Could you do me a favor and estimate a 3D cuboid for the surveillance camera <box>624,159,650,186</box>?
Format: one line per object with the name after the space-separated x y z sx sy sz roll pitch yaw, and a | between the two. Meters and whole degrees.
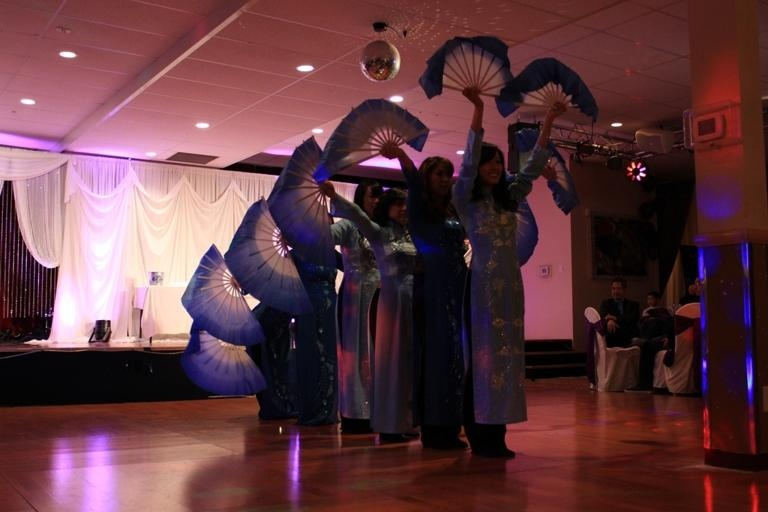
4.462 -1.488 11.011 0.524 0.530 0.165 -5 -4 -24 | surveillance camera

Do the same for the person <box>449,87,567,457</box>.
0.786 0.109 4.029 0.643 2.369 0.500 0 -7 -4 | person

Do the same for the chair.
3.665 1.276 8.323 1.377 1.225 1.030 -12 -16 40 | chair

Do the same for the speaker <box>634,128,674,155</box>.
4.503 -1.964 10.189 0.565 0.479 0.403 -4 -8 25 | speaker

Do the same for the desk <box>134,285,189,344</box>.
-3.871 0.992 10.922 0.847 0.967 0.432 1 -7 -16 | desk

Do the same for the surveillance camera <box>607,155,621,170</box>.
4.036 -1.646 10.682 0.325 0.188 0.195 4 -8 -33 | surveillance camera
